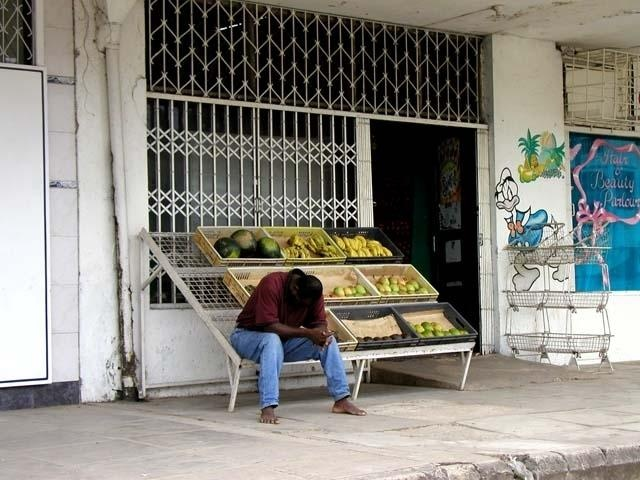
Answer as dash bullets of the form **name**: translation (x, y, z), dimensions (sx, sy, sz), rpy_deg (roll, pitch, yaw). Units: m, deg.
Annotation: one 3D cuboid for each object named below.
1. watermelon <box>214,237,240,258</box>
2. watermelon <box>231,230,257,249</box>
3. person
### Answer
- **watermelon**: translation (-1.013, 0.083, 7.920), dimensions (0.236, 0.193, 0.182), rpy_deg (18, 31, 26)
- **watermelon**: translation (-0.829, -0.024, 8.071), dimensions (0.240, 0.196, 0.180), rpy_deg (31, -43, -27)
- **person**: translation (-0.302, 0.916, 6.698), dimensions (1.014, 1.324, 1.406), rpy_deg (4, 3, -45)
